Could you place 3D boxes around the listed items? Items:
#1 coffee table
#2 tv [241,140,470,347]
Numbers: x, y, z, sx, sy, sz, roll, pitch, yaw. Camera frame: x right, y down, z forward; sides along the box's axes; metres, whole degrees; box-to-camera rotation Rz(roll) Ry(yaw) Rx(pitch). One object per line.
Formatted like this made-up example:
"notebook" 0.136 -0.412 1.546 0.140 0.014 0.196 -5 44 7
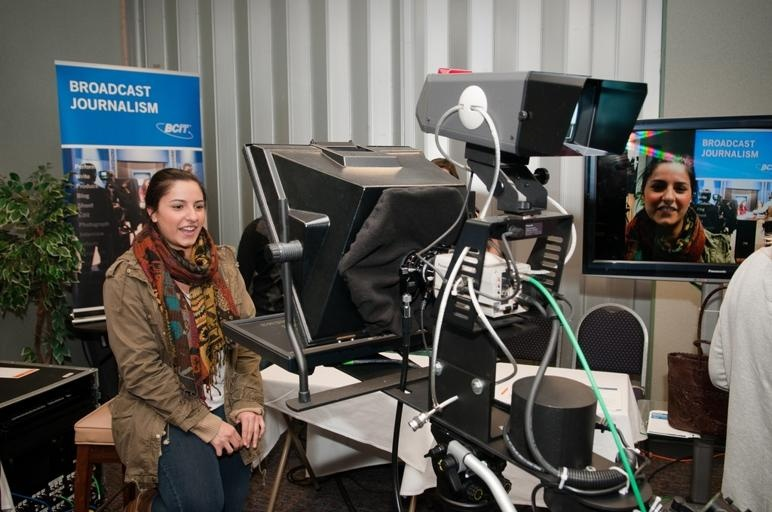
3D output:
"coffee table" 1.783 1.177 3.460 0.466 0.280 0.754 -2 12 -2
"tv" -0.129 -0.147 2.401 0.834 0.794 0.692 -1 13 -29
